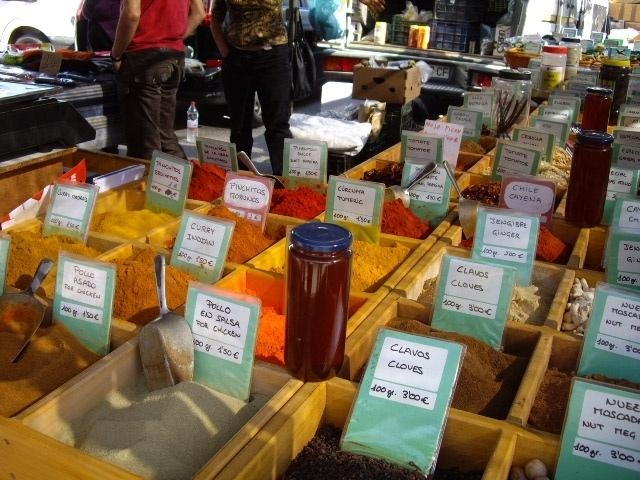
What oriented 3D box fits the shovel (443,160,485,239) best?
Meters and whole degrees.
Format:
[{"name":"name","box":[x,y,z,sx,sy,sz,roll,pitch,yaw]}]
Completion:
[{"name":"shovel","box":[0.631,-0.205,2.085,0.123,0.413,0.057,-30,-19,32]}]

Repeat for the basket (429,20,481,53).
[{"name":"basket","box":[1.849,-2.936,6.440,0.484,0.258,0.488,-1,32,-1]}]

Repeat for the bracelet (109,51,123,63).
[{"name":"bracelet","box":[-1.385,-1.235,3.097,0.053,0.040,0.053,24,26,35]}]

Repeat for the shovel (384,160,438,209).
[{"name":"shovel","box":[0.427,-0.263,2.249,0.324,0.138,0.107,-45,2,-4]}]

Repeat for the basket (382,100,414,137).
[{"name":"basket","box":[0.809,-1.293,4.776,0.212,0.283,0.291,13,18,27]}]

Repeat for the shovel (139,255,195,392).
[{"name":"shovel","box":[-0.434,0.219,1.288,0.154,0.071,0.514,-20,32,-14]}]

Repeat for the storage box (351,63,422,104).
[{"name":"storage box","box":[0.643,-1.472,4.490,0.451,0.239,0.461,11,28,24]}]
